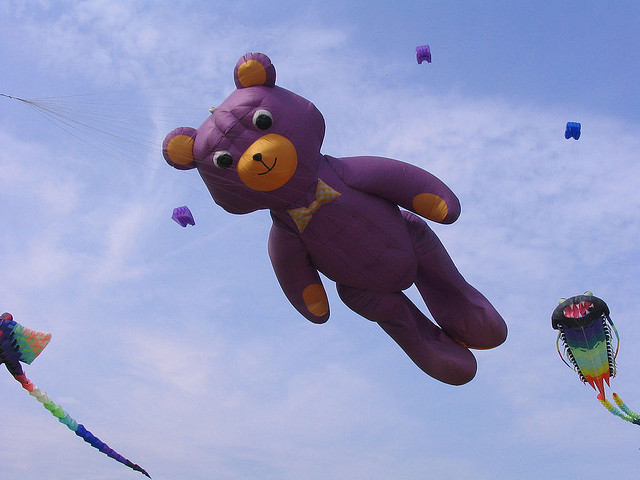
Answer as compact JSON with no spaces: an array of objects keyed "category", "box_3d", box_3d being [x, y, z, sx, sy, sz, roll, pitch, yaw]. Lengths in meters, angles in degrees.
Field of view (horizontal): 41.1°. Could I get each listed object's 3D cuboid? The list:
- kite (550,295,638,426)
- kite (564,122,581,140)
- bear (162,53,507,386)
[{"category":"kite","box_3d":[3.456,1.417,10.766,1.412,0.934,0.570,41,-26,-28]},{"category":"kite","box_3d":[3.373,-1.448,11.365,0.164,0.149,0.181,15,-26,28]},{"category":"bear","box_3d":[0.272,-0.246,10.923,4.745,2.135,1.384,32,-23,-10]}]
